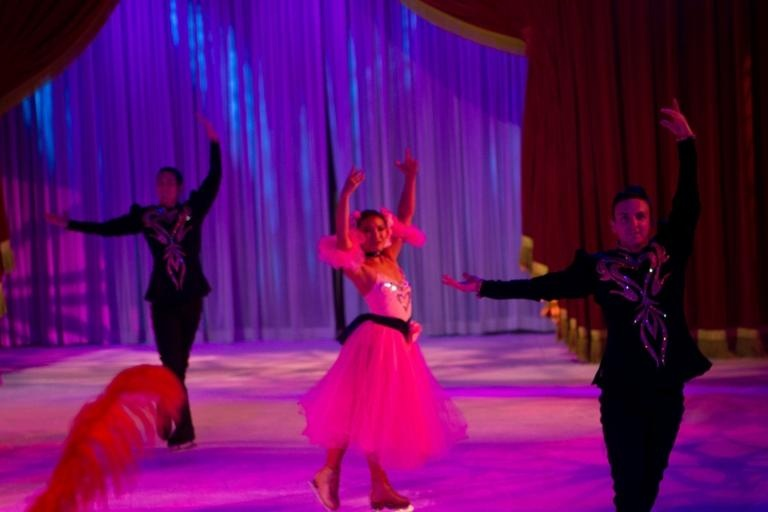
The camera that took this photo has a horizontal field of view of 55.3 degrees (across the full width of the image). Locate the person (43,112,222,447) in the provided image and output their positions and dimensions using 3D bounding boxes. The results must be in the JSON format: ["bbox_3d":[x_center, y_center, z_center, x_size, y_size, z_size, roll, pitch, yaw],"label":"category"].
[{"bbox_3d":[-1.535,0.011,5.145,0.882,1.638,0.547,-6,11,-18],"label":"person"}]

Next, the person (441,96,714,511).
[{"bbox_3d":[1.228,0.287,3.953,0.989,2.065,0.598,-1,11,4],"label":"person"}]
